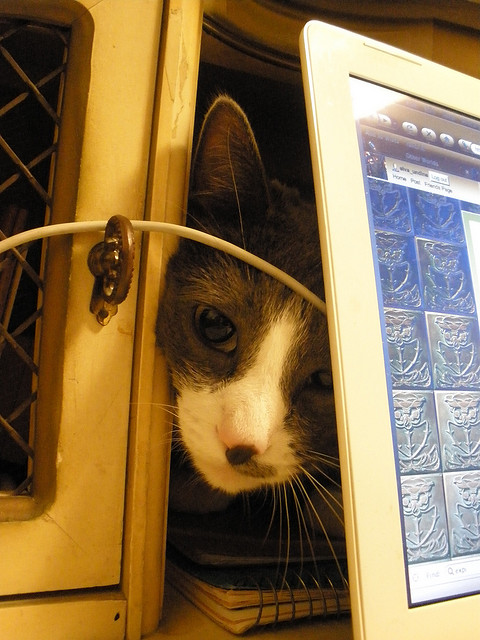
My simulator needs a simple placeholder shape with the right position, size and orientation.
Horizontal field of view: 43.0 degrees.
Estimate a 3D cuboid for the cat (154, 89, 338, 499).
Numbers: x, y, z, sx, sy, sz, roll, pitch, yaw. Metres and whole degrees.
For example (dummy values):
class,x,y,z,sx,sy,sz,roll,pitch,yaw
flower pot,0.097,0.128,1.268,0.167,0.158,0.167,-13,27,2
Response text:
class,x,y,z,sx,sy,sz,roll,pitch,yaw
cat,0.019,0.032,0.687,0.158,0.517,0.258,-2,12,4
